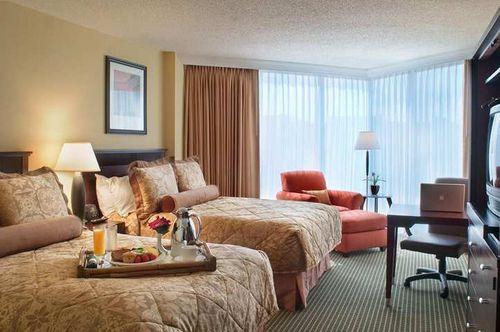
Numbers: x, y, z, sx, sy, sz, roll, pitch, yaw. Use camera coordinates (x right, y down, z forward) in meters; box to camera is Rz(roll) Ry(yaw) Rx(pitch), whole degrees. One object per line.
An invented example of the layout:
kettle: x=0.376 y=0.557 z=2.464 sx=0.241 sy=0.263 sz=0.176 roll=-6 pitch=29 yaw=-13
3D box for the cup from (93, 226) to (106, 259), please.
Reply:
cup: x=-1.341 y=0.672 z=3.141 sx=0.111 sy=0.239 sz=0.219 roll=-5 pitch=11 yaw=-24

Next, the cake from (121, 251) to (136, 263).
cake: x=-0.990 y=0.741 z=2.873 sx=0.083 sy=0.060 sz=0.082 roll=-1 pitch=2 yaw=1

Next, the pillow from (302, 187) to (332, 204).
pillow: x=1.227 y=0.528 z=6.109 sx=0.326 sy=0.312 sz=0.099 roll=-3 pitch=-25 yaw=-30

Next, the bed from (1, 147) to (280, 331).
bed: x=-1.473 y=0.671 z=4.593 sx=2.222 sy=1.338 sz=2.222 roll=1 pitch=-3 yaw=10

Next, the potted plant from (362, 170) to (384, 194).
potted plant: x=2.361 y=0.340 z=6.673 sx=0.355 sy=0.345 sz=0.330 roll=3 pitch=1 yaw=16

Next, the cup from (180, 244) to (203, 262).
cup: x=-0.495 y=0.738 z=2.960 sx=0.164 sy=0.097 sz=0.120 roll=1 pitch=-3 yaw=1

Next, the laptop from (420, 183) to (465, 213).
laptop: x=2.219 y=0.370 z=4.128 sx=0.476 sy=0.319 sz=0.355 roll=1 pitch=-2 yaw=23

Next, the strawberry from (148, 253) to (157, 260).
strawberry: x=-0.814 y=0.760 z=2.949 sx=0.051 sy=0.034 sz=0.047 roll=-8 pitch=-7 yaw=44

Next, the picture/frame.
picture/frame: x=-1.892 y=-1.057 z=5.382 sx=0.163 sy=1.128 sz=0.855 roll=4 pitch=11 yaw=22

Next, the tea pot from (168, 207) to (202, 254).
tea pot: x=-0.578 y=0.589 z=3.241 sx=0.320 sy=0.372 sz=0.221 roll=-1 pitch=-8 yaw=-7

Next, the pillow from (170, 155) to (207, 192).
pillow: x=-0.920 y=0.106 z=5.150 sx=0.137 sy=0.477 sz=0.510 roll=-30 pitch=-15 yaw=33

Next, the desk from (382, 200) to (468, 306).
desk: x=2.040 y=1.145 z=4.426 sx=1.040 sy=1.275 sz=1.384 roll=-1 pitch=-2 yaw=26

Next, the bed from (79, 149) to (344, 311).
bed: x=-0.393 y=0.586 z=4.796 sx=2.650 sy=1.389 sz=2.105 roll=0 pitch=0 yaw=20

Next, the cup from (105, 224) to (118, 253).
cup: x=-1.210 y=0.670 z=3.219 sx=0.142 sy=0.236 sz=0.146 roll=5 pitch=-14 yaw=1

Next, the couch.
couch: x=1.359 y=0.706 z=5.981 sx=1.316 sy=1.205 sz=1.634 roll=-1 pitch=3 yaw=-38

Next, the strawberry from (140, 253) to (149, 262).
strawberry: x=-0.865 y=0.754 z=2.897 sx=0.061 sy=0.061 sz=0.035 roll=-2 pitch=10 yaw=-13
